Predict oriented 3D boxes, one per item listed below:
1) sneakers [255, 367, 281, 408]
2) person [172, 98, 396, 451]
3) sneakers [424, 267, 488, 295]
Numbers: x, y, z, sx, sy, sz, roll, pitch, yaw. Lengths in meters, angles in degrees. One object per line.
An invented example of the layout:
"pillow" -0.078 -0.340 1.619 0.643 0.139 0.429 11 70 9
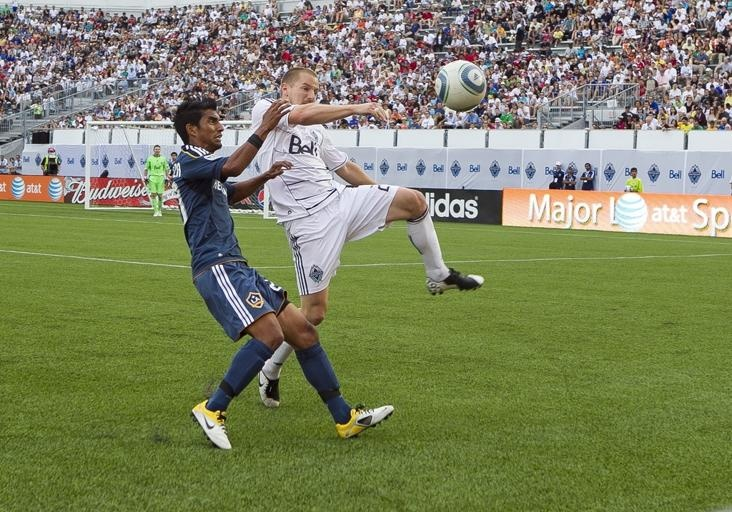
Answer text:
"sneakers" -0.678 0.935 4.385 0.101 0.304 0.117 -9 -2 -40
"person" -0.654 0.056 3.904 1.078 2.108 0.693 0 5 -13
"sneakers" 0.770 0.218 4.977 0.545 0.250 0.196 -8 6 -6
